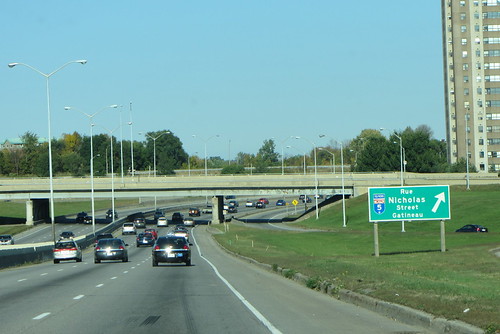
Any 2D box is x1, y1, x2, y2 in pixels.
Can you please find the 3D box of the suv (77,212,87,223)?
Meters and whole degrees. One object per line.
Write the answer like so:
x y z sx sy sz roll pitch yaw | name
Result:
-34.469 10.322 165.724 1.548 1.309 2.563 -1 8 -3 | suv

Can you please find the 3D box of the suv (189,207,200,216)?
-12.044 9.746 174.788 2.036 2.120 3.201 -1 7 2 | suv
